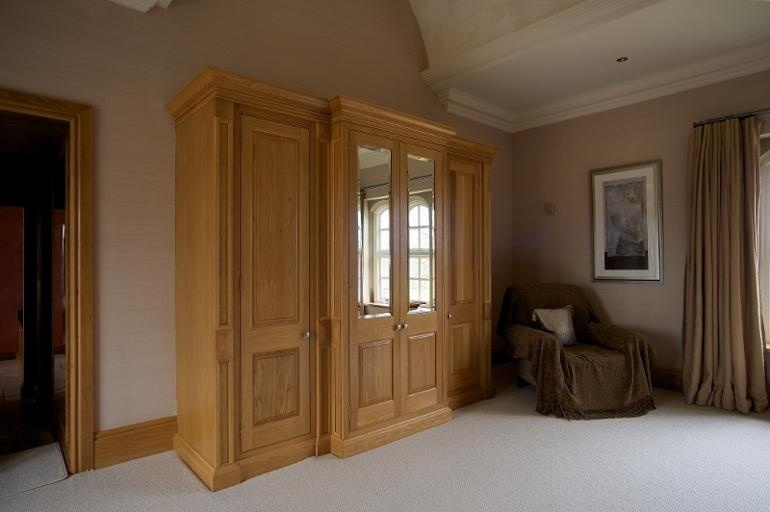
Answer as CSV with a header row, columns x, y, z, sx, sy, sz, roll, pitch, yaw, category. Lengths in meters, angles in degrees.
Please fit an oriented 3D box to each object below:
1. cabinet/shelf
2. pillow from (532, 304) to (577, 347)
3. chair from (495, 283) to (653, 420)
x,y,z,sx,sy,sz,roll,pitch,yaw,category
-0.204,0.244,5.742,3.685,3.323,1.198,-3,6,-41,cabinet/shelf
2.033,0.814,6.178,0.435,0.455,0.176,4,-9,-12,pillow
2.220,1.030,6.123,1.604,1.349,1.112,-2,1,3,chair
